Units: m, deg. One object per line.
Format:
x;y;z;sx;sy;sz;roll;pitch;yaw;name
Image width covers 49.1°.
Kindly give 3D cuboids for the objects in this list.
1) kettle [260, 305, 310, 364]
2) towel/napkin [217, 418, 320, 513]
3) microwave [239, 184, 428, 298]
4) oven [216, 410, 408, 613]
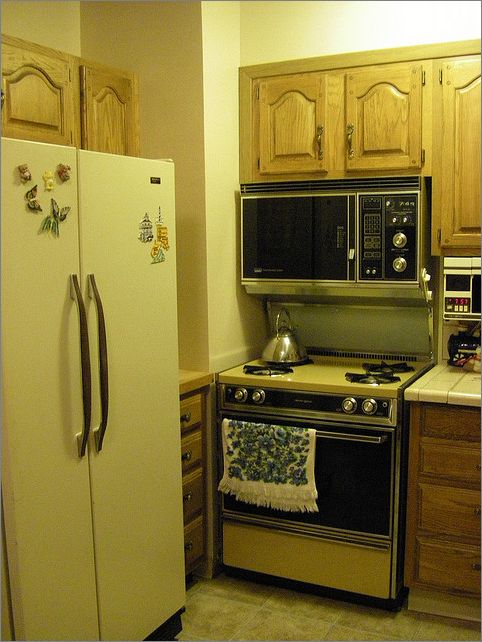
0.208;0.073;2.552;0.179;0.315;0.236;-2;-3;31;kettle
0.123;0.568;2.083;0.282;0.300;0.036;5;9;33;towel/napkin
0.357;-0.371;2.256;0.820;0.451;0.228;7;13;37;microwave
0.319;0.563;2.293;0.693;0.997;0.560;-1;-5;25;oven
